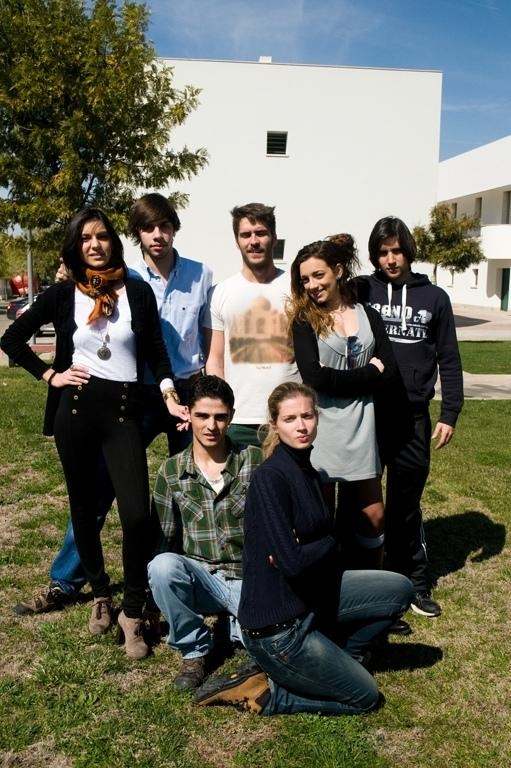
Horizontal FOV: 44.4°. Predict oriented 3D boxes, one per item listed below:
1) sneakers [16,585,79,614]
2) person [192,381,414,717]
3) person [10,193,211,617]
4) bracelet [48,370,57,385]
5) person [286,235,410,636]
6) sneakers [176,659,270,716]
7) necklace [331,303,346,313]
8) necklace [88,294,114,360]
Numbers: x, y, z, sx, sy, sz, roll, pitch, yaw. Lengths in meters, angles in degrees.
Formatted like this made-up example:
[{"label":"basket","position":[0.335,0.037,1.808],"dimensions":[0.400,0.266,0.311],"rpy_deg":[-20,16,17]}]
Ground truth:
[{"label":"sneakers","position":[-1.086,1.104,3.259],"dimensions":[0.280,0.117,0.133],"rpy_deg":[3,-3,-29]},{"label":"person","position":[0.191,0.666,2.504],"dimensions":[0.820,1.297,0.482],"rpy_deg":[1,7,-6]},{"label":"person","position":[-0.878,0.188,3.227],"dimensions":[0.884,2.082,0.723],"rpy_deg":[7,1,39]},{"label":"bracelet","position":[-0.926,-0.032,2.840],"dimensions":[0.014,0.052,0.032],"rpy_deg":[6,-27,41]},{"label":"person","position":[0.452,0.243,3.109],"dimensions":[0.504,1.866,0.495],"rpy_deg":[-2,10,16]},{"label":"sneakers","position":[-0.113,1.200,2.514],"dimensions":[0.385,0.133,0.167],"rpy_deg":[-1,45,20]},{"label":"necklace","position":[0.409,-0.364,3.046],"dimensions":[0.043,0.023,0.060],"rpy_deg":[-9,-10,25]},{"label":"necklace","position":[-0.690,-0.232,2.818],"dimensions":[0.108,0.254,0.056],"rpy_deg":[0,7,-13]}]
